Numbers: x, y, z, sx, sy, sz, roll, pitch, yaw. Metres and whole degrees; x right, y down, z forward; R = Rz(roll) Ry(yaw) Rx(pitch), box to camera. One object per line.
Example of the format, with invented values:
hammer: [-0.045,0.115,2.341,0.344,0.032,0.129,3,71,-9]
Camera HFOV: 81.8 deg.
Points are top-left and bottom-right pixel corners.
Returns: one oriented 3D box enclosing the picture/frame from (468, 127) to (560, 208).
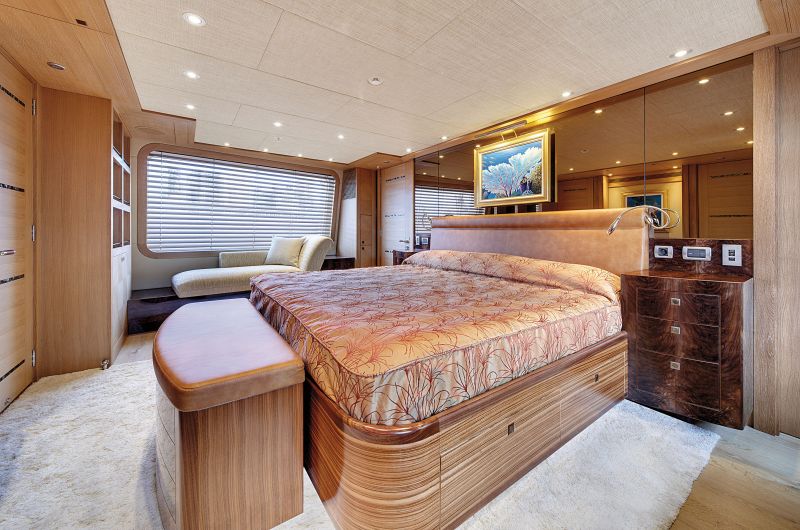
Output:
picture/frame: [1.375,-1.159,5.411,0.118,0.775,1.088,0,0,-38]

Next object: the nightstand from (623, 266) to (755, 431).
nightstand: [2.622,0.674,4.128,0.729,1.207,0.949,-15,13,-29]

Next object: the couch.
couch: [-1.776,0.198,6.689,2.277,0.748,1.210,-4,-22,6]

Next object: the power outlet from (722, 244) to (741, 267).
power outlet: [2.876,-0.082,4.018,0.028,0.251,0.190,-4,6,-43]
